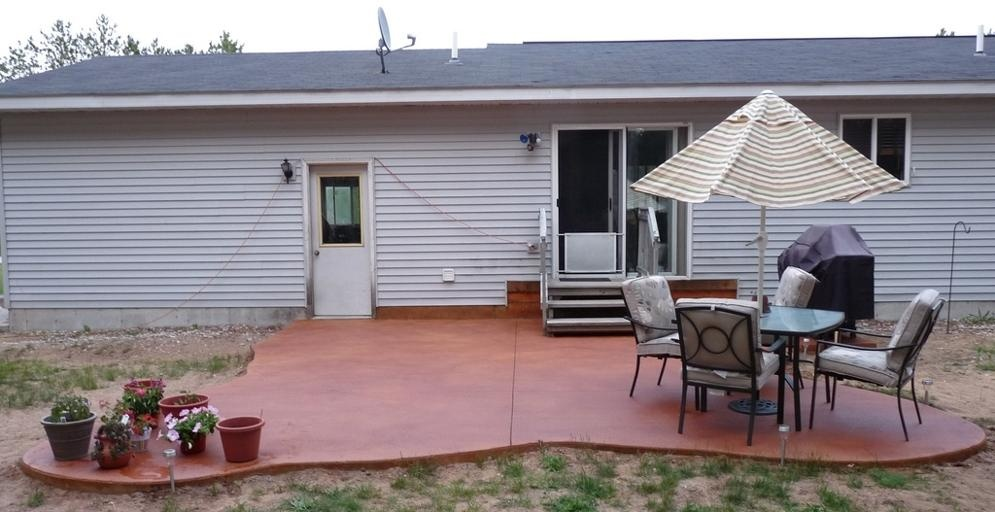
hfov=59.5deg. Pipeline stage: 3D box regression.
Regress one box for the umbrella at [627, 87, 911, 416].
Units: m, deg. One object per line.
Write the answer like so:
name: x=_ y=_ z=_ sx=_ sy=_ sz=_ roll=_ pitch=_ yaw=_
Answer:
umbrella: x=5.185 y=-0.811 z=16.107 sx=4.941 sy=3.811 sz=4.360 roll=-5 pitch=10 yaw=-11

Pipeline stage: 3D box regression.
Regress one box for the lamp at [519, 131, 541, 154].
lamp: x=0.709 y=-2.469 z=18.820 sx=0.464 sy=0.414 sz=0.418 roll=4 pitch=7 yaw=44

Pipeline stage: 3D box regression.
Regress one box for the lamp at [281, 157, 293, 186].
lamp: x=-4.568 y=-1.833 z=18.893 sx=0.248 sy=0.545 sz=0.102 roll=-2 pitch=6 yaw=-12
